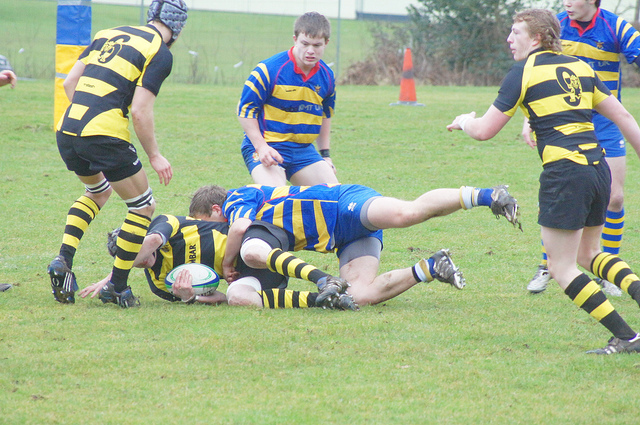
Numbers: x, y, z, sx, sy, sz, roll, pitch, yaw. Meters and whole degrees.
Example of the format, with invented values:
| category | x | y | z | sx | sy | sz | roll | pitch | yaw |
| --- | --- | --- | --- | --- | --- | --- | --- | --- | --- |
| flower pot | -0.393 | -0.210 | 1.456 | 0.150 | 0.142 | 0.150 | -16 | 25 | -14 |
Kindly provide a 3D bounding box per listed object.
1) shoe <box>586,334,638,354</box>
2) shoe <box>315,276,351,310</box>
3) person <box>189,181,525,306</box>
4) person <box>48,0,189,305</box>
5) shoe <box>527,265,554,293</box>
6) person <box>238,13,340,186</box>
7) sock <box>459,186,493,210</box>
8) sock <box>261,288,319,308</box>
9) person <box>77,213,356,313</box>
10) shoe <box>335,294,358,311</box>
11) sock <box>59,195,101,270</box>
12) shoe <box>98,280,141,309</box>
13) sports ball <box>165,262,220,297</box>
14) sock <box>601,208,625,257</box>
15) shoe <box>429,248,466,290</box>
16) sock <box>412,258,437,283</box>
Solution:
| category | x | y | z | sx | sy | sz | roll | pitch | yaw |
| --- | --- | --- | --- | --- | --- | --- | --- | --- | --- |
| shoe | 2.049 | 0.939 | 4.880 | 0.399 | 0.149 | 0.130 | -1 | -11 | -1 |
| shoe | 0.071 | 0.634 | 5.588 | 0.276 | 0.130 | 0.224 | -36 | -21 | 32 |
| person | 0.135 | 0.074 | 5.793 | 2.653 | 0.916 | 1.175 | 5 | -13 | 11 |
| person | -1.712 | -0.533 | 5.750 | 0.947 | 2.551 | 0.652 | 3 | 10 | -1 |
| shoe | 2.010 | 0.593 | 6.214 | 0.169 | 0.200 | 0.384 | 8 | 11 | 28 |
| person | -0.307 | -1.162 | 7.054 | 1.047 | 1.725 | 0.698 | 1 | 10 | -10 |
| sock | 1.210 | -0.126 | 5.267 | 0.220 | 0.102 | 0.140 | -5 | 4 | 12 |
| sock | -0.259 | 0.719 | 5.677 | 0.497 | 0.104 | 0.141 | 4 | 6 | 2 |
| person | -0.642 | 0.480 | 5.793 | 1.636 | 0.456 | 1.072 | 4 | -15 | 5 |
| shoe | 0.218 | 0.737 | 5.587 | 0.165 | 0.119 | 0.077 | 7 | 31 | -5 |
| sock | -2.119 | 0.190 | 5.927 | 0.247 | 0.646 | 0.524 | 3 | 10 | -1 |
| shoe | -1.673 | 0.696 | 5.743 | 0.378 | 0.186 | 0.155 | 21 | 26 | -19 |
| sports ball | -1.081 | 0.558 | 5.783 | 0.404 | 0.224 | 0.252 | 3 | 14 | 1 |
| sock | 2.768 | 0.192 | 6.443 | 0.168 | 0.469 | 0.277 | 7 | 11 | 22 |
| shoe | 1.030 | 0.452 | 5.532 | 0.234 | 0.326 | 0.265 | 0 | -1 | 1 |
| sock | 0.843 | 0.491 | 5.663 | 0.160 | 0.196 | 0.200 | 16 | -21 | 5 |
